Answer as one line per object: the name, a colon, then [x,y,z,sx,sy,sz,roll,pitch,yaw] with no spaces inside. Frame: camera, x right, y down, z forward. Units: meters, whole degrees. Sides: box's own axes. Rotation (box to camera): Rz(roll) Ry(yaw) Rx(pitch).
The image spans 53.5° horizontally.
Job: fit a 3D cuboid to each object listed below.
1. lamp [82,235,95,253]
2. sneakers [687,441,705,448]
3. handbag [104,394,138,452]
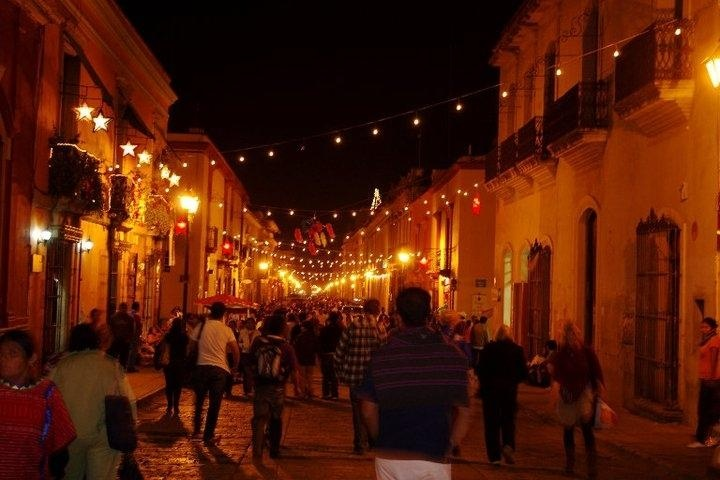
lamp: [-8.051,0.124,21.074,0.364,0.578,0.359,-4,-8,41]
sneakers: [6.440,3.942,13.655,0.208,0.082,0.141,3,-8,14]
handbag: [-2.854,2.209,8.479,0.354,0.698,0.289,2,-2,-22]
